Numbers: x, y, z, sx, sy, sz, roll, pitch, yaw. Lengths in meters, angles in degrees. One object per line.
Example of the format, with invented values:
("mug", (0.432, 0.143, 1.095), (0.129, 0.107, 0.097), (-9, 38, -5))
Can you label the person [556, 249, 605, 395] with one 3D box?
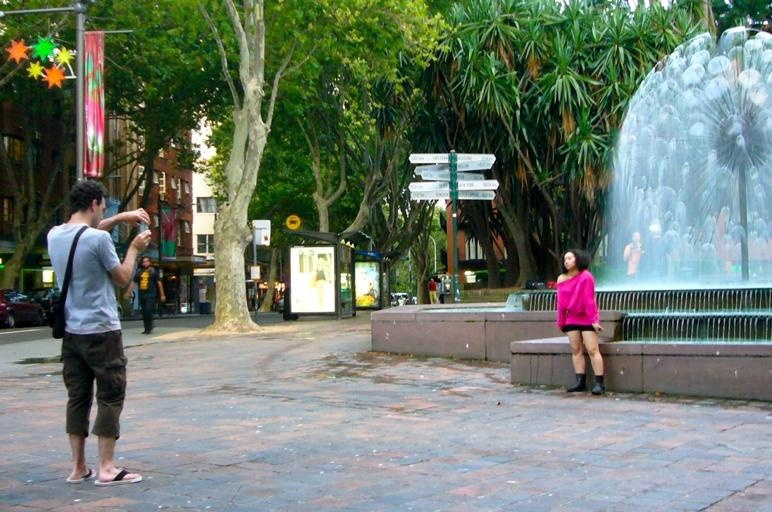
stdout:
("person", (2.887, 0.945, 11.880), (0.664, 2.060, 0.494), (1, 5, 26))

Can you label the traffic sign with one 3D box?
("traffic sign", (1.504, -1.781, 18.364), (1.842, 1.169, 1.606), (-1, 4, 2))

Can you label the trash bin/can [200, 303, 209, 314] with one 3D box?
("trash bin/can", (-10.724, 3.075, 48.092), (0.660, 0.689, 0.656), (0, -1, -10))

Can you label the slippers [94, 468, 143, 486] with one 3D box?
("slippers", (-2.530, 2.107, 7.716), (0.323, 0.108, 0.179), (-2, -4, -10))

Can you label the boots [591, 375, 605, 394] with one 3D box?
("boots", (3.112, 1.841, 11.831), (0.189, 0.270, 0.430), (0, 4, 17))

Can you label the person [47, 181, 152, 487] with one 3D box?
("person", (-2.810, 0.704, 7.855), (0.904, 2.878, 0.740), (3, 6, 42))
